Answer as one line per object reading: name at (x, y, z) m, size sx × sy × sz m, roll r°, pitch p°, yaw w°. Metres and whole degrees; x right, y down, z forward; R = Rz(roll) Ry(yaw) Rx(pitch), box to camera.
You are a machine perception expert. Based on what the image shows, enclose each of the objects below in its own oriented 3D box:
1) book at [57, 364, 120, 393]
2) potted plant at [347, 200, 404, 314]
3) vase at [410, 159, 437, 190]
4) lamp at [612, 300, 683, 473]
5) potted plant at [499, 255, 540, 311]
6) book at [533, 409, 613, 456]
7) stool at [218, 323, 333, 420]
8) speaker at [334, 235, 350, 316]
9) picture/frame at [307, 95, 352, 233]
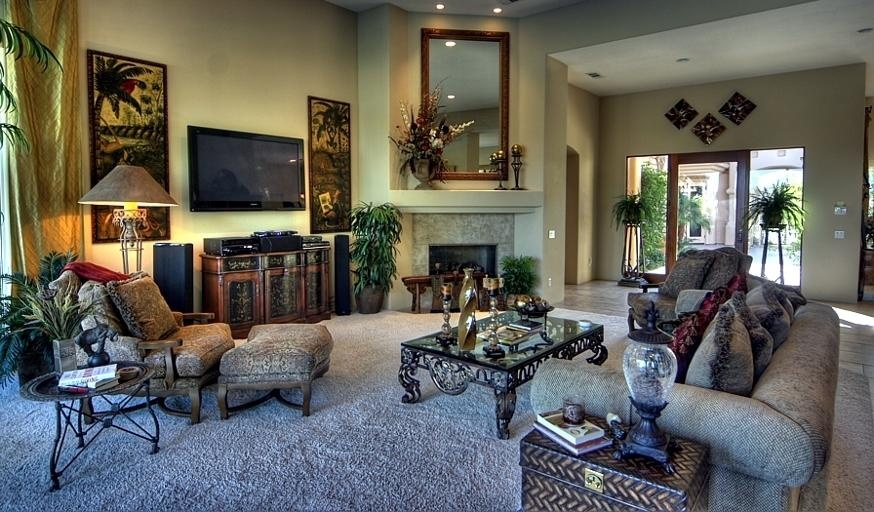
book at (-3.053, 1.078, 4.649) m, size 0.457 × 0.159 × 0.242 m, roll -3°, pitch 7°, yaw -12°
potted plant at (-0.993, 0.035, 8.672) m, size 0.827 × 1.794 × 0.532 m, roll -2°, pitch 7°, yaw -8°
vase at (-0.204, -1.334, 8.890) m, size 0.509 × 0.500 × 0.449 m, roll -1°, pitch -3°, yaw 0°
lamp at (1.545, 0.943, 3.880) m, size 0.392 × 1.168 × 0.320 m, roll 2°, pitch 8°, yaw 24°
potted plant at (1.447, 0.444, 9.089) m, size 0.937 × 0.989 × 0.767 m, roll 0°, pitch 3°, yaw -12°
book at (1.050, 1.334, 4.000) m, size 0.326 × 0.077 × 0.354 m, roll -3°, pitch 7°, yaw -30°
stool at (-1.724, 1.101, 5.660) m, size 0.877 × 0.527 × 1.126 m, roll 0°, pitch 7°, yaw -8°
speaker at (-1.528, 0.307, 8.519) m, size 0.258 × 1.287 × 0.110 m, roll -3°, pitch 8°, yaw -14°
picture/frame at (-1.720, -1.460, 8.623) m, size 0.227 × 2.156 × 0.869 m, roll 5°, pitch 10°, yaw 40°
